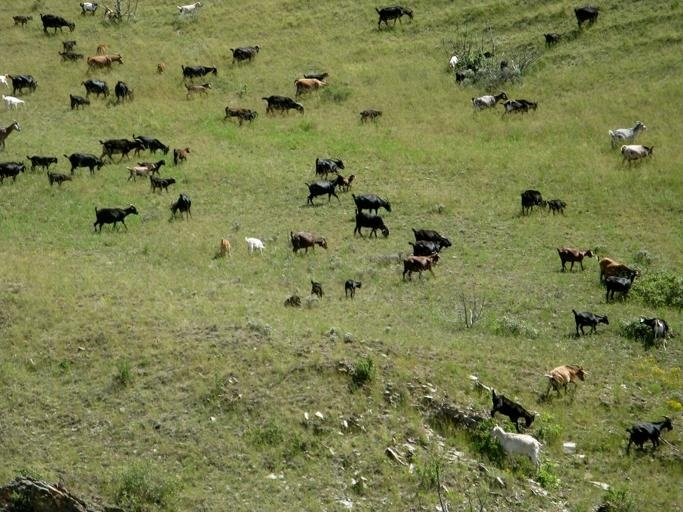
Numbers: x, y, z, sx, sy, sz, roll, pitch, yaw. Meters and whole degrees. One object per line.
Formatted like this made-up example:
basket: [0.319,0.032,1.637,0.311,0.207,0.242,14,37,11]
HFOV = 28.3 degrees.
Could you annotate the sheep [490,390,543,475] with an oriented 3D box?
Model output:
sheep: [8.207,8.012,63.251,2.319,2.577,2.463,-1,33,9]

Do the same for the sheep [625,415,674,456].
sheep: [14.459,8.331,63.358,2.328,1.126,0.840,-15,33,-10]

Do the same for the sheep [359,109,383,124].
sheep: [1.907,-9.403,88.873,1.435,0.635,1.435,-7,34,1]

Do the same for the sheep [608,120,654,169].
sheep: [17.853,-6.981,83.258,2.356,1.789,4.685,-2,34,7]
